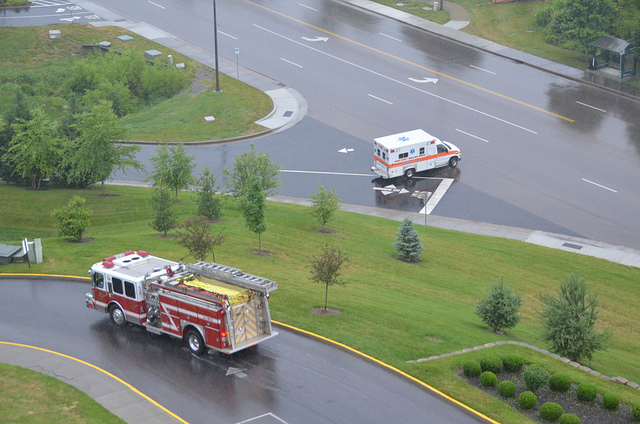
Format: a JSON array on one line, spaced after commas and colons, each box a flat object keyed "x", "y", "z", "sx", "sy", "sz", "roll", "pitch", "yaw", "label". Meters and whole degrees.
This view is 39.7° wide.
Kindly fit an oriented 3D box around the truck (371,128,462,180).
[{"x": 8.496, "y": -5.099, "z": 75.578, "sx": 7.762, "sy": 3.116, "sz": 3.450, "roll": -18, "pitch": 32, "yaw": -21, "label": "truck"}]

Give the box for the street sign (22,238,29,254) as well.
[{"x": -19.604, "y": 2.245, "z": 58.771, "sx": 0.180, "sy": 0.727, "sz": 0.805, "roll": 7, "pitch": 9, "yaw": 17, "label": "street sign"}]

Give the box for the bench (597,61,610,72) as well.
[{"x": 28.651, "y": -14.798, "z": 89.493, "sx": 1.331, "sy": 0.815, "sz": 0.667, "roll": -5, "pitch": 26, "yaw": -31, "label": "bench"}]
